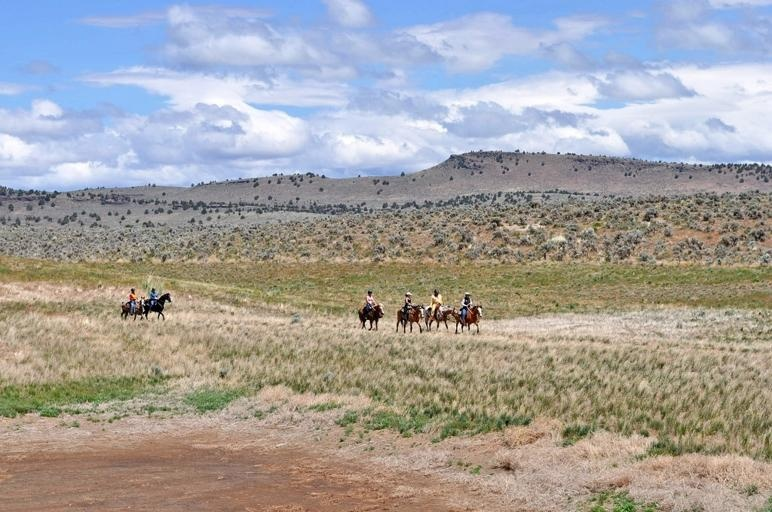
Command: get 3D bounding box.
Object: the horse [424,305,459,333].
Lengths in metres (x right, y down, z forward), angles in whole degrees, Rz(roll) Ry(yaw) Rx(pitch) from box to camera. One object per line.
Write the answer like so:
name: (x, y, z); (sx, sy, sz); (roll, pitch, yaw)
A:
horse: (3.948, 4.593, 72.875); (1.262, 1.986, 3.518); (-3, 6, -34)
